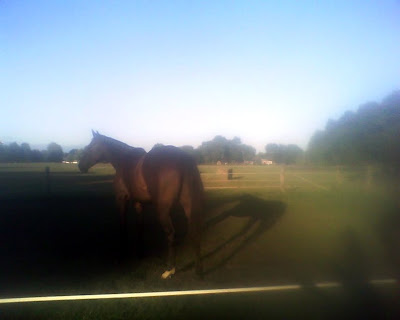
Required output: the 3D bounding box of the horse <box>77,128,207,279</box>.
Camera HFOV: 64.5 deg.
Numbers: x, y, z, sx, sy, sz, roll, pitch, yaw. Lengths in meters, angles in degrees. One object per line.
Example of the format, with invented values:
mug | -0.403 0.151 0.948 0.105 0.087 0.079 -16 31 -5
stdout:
horse | -1.314 1.077 8.213 2.887 3.639 0.841 0 2 28
